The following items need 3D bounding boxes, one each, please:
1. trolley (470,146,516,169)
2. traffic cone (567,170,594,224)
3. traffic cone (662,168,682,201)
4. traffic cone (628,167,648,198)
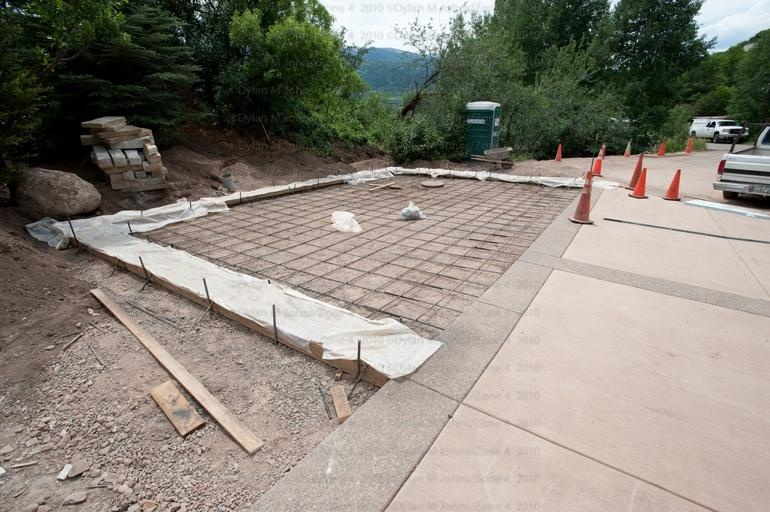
[{"bbox_3d":[2.971,-2.807,12.961,1.029,0.630,1.582,-1,24,8],"label":"trolley"},{"bbox_3d":[3.223,-1.055,7.520,0.346,0.964,1.164,6,27,22],"label":"traffic cone"},{"bbox_3d":[5.636,-1.446,9.012,0.282,0.614,0.799,11,29,30],"label":"traffic cone"},{"bbox_3d":[4.997,-1.480,9.062,0.309,0.635,0.632,8,29,26],"label":"traffic cone"}]
